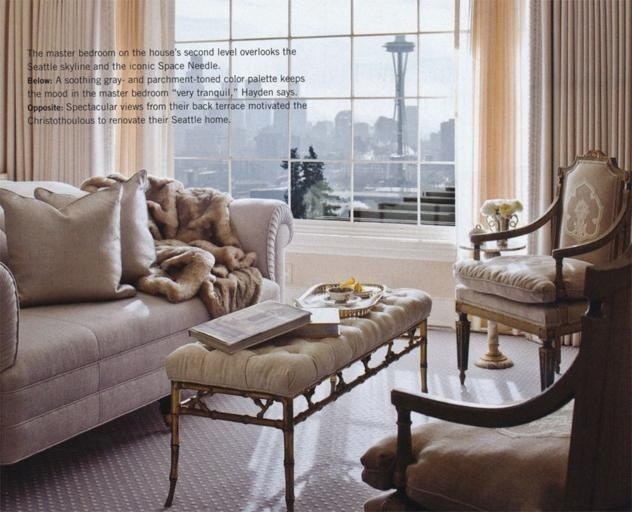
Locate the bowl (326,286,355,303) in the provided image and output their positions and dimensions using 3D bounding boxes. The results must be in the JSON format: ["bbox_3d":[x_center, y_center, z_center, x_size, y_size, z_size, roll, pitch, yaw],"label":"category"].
[{"bbox_3d":[0.108,0.169,2.699,0.074,0.031,0.072,1,10,0],"label":"bowl"}]

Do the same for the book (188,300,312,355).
[{"bbox_3d":[-0.232,0.254,2.241,0.283,0.039,0.196,-16,21,-43],"label":"book"}]
